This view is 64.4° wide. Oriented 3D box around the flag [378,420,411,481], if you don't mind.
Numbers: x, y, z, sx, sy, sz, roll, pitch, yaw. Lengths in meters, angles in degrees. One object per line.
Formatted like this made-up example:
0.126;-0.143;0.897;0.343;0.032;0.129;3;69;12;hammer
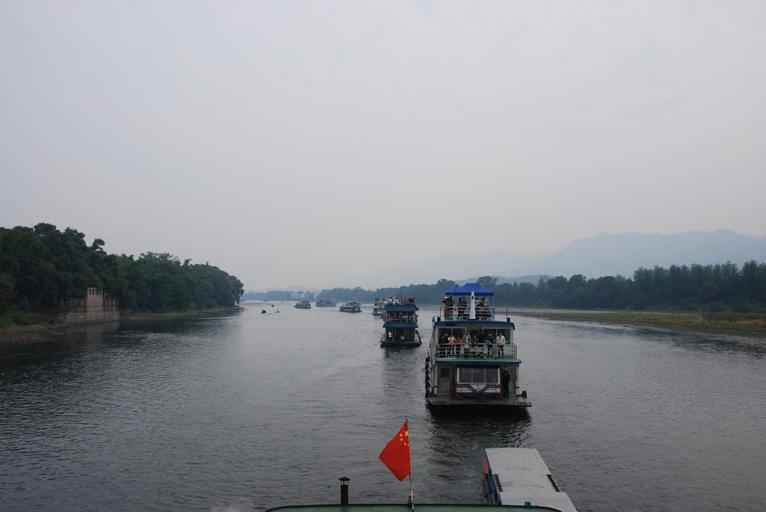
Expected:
1.259;16.806;52.671;2.275;5.379;1.512;2;8;12;flag

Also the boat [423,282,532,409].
11.705;11.470;85.490;11.411;16.616;33.453;0;-4;3;boat

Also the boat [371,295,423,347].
4.018;16.546;138.508;10.234;10.058;16.842;0;6;1;boat
